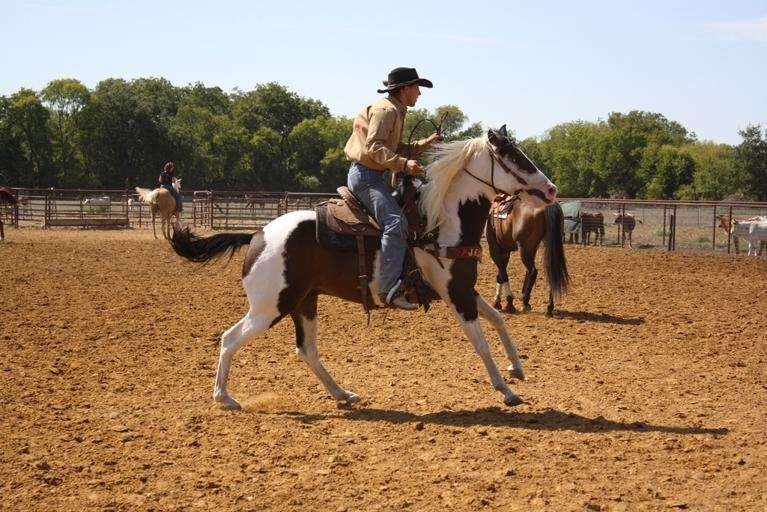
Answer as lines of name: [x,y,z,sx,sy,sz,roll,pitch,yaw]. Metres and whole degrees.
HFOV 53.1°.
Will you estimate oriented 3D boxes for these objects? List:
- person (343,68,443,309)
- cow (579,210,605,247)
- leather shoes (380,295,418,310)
person: [0.018,-0.881,9.781,0.966,3.035,0.656,1,5,2]
cow: [7.531,-1.029,28.057,0.940,1.470,1.546,0,-4,3]
leather shoes: [0.136,0.594,9.737,0.551,0.252,0.173,-4,-1,23]
